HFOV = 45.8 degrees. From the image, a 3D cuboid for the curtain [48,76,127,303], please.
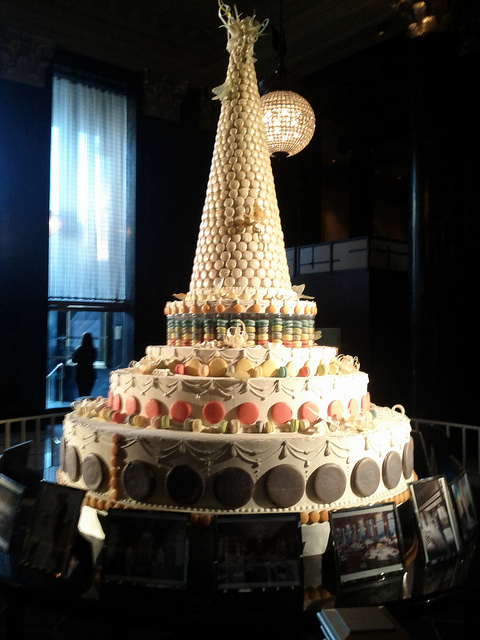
[{"bbox_3d":[-2.057,-1.721,7.708,0.272,2.957,1.261,4,5,41],"label":"curtain"}]
